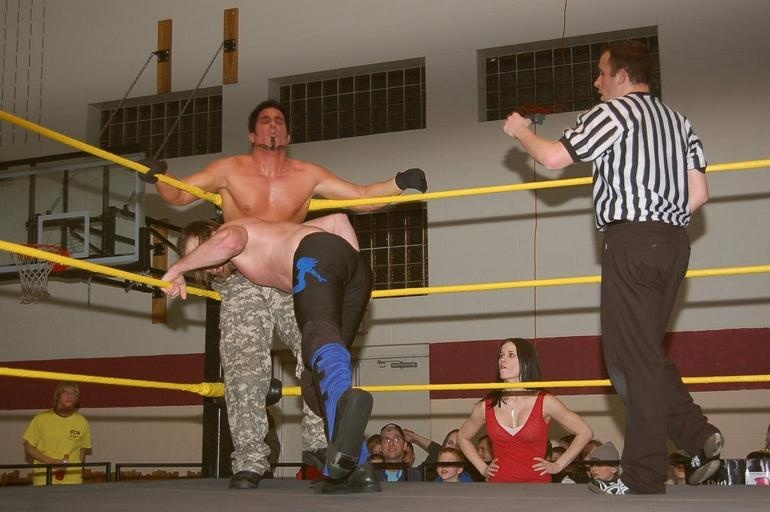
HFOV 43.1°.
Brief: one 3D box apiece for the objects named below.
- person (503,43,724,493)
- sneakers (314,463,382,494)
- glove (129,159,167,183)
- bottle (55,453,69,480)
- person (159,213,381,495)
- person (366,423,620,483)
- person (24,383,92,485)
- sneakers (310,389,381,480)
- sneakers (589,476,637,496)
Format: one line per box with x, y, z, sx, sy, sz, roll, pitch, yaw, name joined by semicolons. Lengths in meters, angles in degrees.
1.552;0.037;6.219;1.083;2.881;0.413;0;-8;4;person
-0.206;1.371;6.003;0.347;0.131;0.195;3;-14;-9;sneakers
-1.571;-0.578;6.548;0.212;0.155;0.275;1;-7;-11;glove
-3.088;2.018;9.319;0.126;0.230;0.458;2;-7;-17;bottle
-0.608;0.576;6.095;1.148;1.755;0.472;-1;-8;10;person
1.274;1.783;9.051;1.943;0.425;0.715;-1;-30;7;person
-3.196;1.757;9.567;0.618;1.035;1.492;3;-8;-19;person
-0.217;1.045;5.814;0.308;0.482;0.201;16;9;32;sneakers
1.430;1.457;6.117;0.269;0.105;0.095;12;-20;23;sneakers
